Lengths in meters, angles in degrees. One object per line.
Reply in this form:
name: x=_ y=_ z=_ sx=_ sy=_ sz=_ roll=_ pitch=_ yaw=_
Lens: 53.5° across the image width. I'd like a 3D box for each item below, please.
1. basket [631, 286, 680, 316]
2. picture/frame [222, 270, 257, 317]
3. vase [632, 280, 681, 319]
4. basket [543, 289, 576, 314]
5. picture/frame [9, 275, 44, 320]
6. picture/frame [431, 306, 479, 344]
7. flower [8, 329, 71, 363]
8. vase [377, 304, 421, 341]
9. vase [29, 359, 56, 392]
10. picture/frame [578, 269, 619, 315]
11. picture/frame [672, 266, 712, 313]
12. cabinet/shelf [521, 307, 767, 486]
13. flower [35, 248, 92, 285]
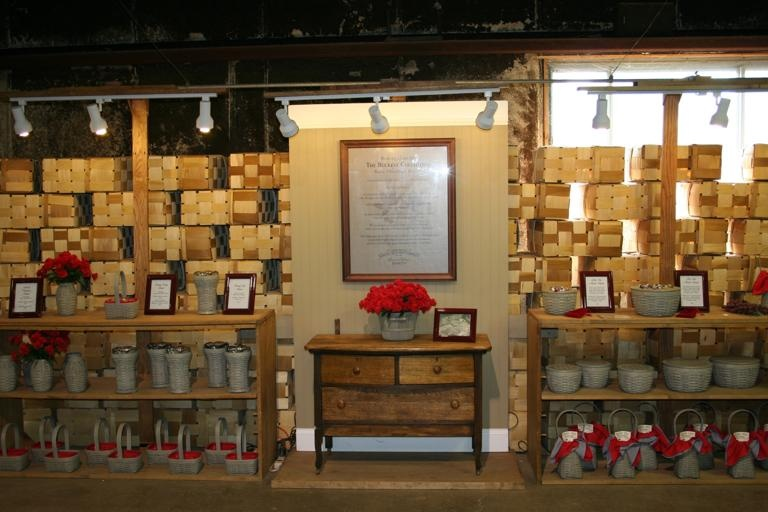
basket: x=2.781 y=0.456 z=7.710 sx=0.389 sy=0.184 sz=0.345 roll=-1 pitch=3 yaw=8
picture/frame: x=-1.500 y=0.408 z=7.974 sx=0.533 sy=0.558 sz=0.064 roll=0 pitch=-10 yaw=-2
vase: x=2.768 y=0.458 z=7.739 sx=0.390 sy=0.204 sz=0.368 roll=-1 pitch=1 yaw=29
basket: x=1.801 y=0.467 z=7.795 sx=0.321 sy=0.160 sz=0.269 roll=0 pitch=2 yaw=-3
picture/frame: x=-3.725 y=0.451 z=7.954 sx=0.538 sy=0.533 sz=0.059 roll=-2 pitch=-6 yaw=-5
picture/frame: x=0.727 y=0.712 z=7.744 sx=0.458 sy=0.325 sz=0.047 roll=0 pitch=-21 yaw=5
flower: x=-3.622 y=0.943 z=8.038 sx=0.494 sy=0.277 sz=0.454 roll=-1 pitch=0 yaw=-26
vase: x=0.155 y=0.705 z=7.722 sx=0.371 sy=0.196 sz=0.333 roll=0 pitch=0 yaw=1
vase: x=-3.564 y=1.264 z=8.058 sx=0.281 sy=0.304 sz=0.250 roll=0 pitch=-2 yaw=-16
picture/frame: x=2.214 y=0.379 z=7.880 sx=0.543 sy=0.578 sz=0.063 roll=0 pitch=-8 yaw=-2
picture/frame: x=3.180 y=0.369 z=7.873 sx=0.575 sy=0.617 sz=0.052 roll=0 pitch=-6 yaw=-4
cabinet/shelf: x=2.651 y=1.495 z=7.846 sx=2.081 sy=1.116 sz=0.643 roll=-1 pitch=8 yaw=0
flower: x=-3.360 y=0.130 z=8.021 sx=0.506 sy=0.341 sz=0.208 roll=0 pitch=-4 yaw=-23
